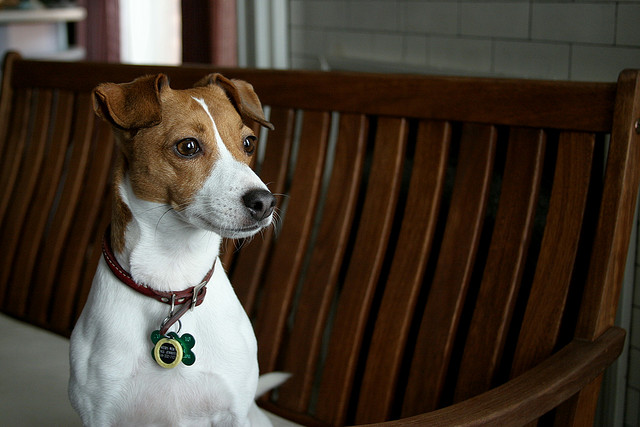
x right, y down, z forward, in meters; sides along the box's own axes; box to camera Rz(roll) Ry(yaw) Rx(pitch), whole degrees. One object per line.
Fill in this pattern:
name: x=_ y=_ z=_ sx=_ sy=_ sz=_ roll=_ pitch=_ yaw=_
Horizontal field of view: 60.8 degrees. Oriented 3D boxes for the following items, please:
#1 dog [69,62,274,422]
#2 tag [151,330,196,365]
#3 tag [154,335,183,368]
dog: x=-0.358 y=0.076 z=1.469 sx=0.487 sy=0.819 sz=0.586 roll=7 pitch=28 yaw=-5
tag: x=-0.357 y=0.326 z=1.320 sx=0.073 sy=0.072 sz=0.004 roll=5 pitch=-1 yaw=-5
tag: x=-0.363 y=0.329 z=1.313 sx=0.070 sy=0.085 sz=0.012 roll=2 pitch=9 yaw=14
